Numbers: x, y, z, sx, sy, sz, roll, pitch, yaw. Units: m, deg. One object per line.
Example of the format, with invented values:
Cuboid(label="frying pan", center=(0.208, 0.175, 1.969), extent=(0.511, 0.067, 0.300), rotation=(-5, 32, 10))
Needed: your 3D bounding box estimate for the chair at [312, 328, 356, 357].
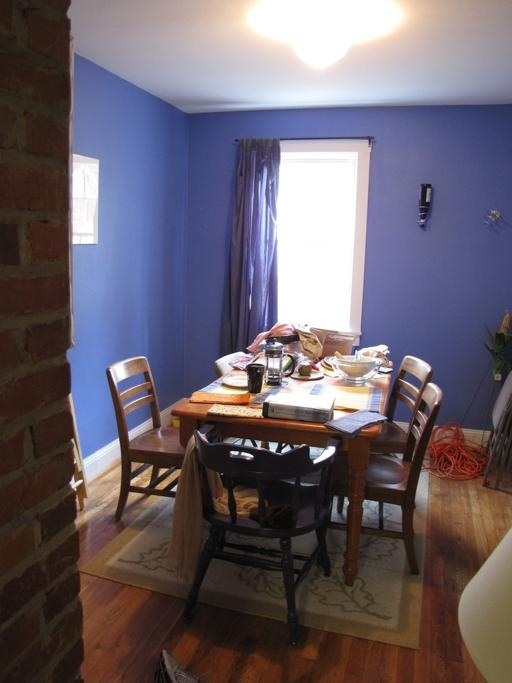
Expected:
Cuboid(label="chair", center=(0.529, 0.024, 3.268), extent=(0.220, 0.112, 0.166), rotation=(5, 12, -45))

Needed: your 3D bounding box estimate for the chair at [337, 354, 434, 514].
Cuboid(label="chair", center=(0.646, 0.462, 2.743), extent=(0.474, 0.740, 0.482), rotation=(4, 10, -25))

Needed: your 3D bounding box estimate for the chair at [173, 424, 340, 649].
Cuboid(label="chair", center=(0.025, 0.686, 1.991), extent=(0.502, 0.782, 0.539), rotation=(4, 12, 14))

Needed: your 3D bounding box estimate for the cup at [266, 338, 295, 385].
Cuboid(label="cup", center=(0.125, 0.112, 2.656), extent=(0.188, 0.302, 0.159), rotation=(2, 6, 16))

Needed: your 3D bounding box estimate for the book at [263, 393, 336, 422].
Cuboid(label="book", center=(0.188, 0.273, 2.147), extent=(0.286, 0.071, 0.265), rotation=(4, 8, 10))

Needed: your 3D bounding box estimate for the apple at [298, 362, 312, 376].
Cuboid(label="apple", center=(0.267, 0.148, 2.703), extent=(0.055, 0.062, 0.063), rotation=(-1, 2, -2))

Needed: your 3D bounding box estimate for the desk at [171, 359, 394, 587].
Cuboid(label="desk", center=(0.128, 0.433, 2.204), extent=(0.787, 0.766, 0.831), rotation=(5, 13, 14))

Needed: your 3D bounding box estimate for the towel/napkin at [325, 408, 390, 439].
Cuboid(label="towel/napkin", center=(0.416, 0.320, 2.047), extent=(0.181, 0.051, 0.306), rotation=(9, 11, 43))
